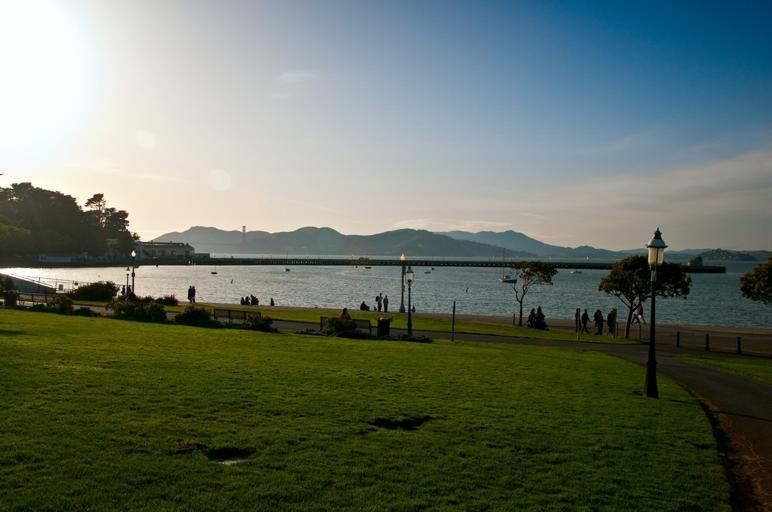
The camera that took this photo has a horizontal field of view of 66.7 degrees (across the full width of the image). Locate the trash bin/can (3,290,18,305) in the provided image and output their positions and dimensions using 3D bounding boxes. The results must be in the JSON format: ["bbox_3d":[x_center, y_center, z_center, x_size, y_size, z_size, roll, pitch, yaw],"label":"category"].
[{"bbox_3d":[-24.418,2.692,37.795,1.040,0.960,1.001,-2,-5,11],"label":"trash bin/can"}]

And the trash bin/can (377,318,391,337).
[{"bbox_3d":[-0.157,4.062,33.584,0.992,1.232,0.958,0,1,11],"label":"trash bin/can"}]
